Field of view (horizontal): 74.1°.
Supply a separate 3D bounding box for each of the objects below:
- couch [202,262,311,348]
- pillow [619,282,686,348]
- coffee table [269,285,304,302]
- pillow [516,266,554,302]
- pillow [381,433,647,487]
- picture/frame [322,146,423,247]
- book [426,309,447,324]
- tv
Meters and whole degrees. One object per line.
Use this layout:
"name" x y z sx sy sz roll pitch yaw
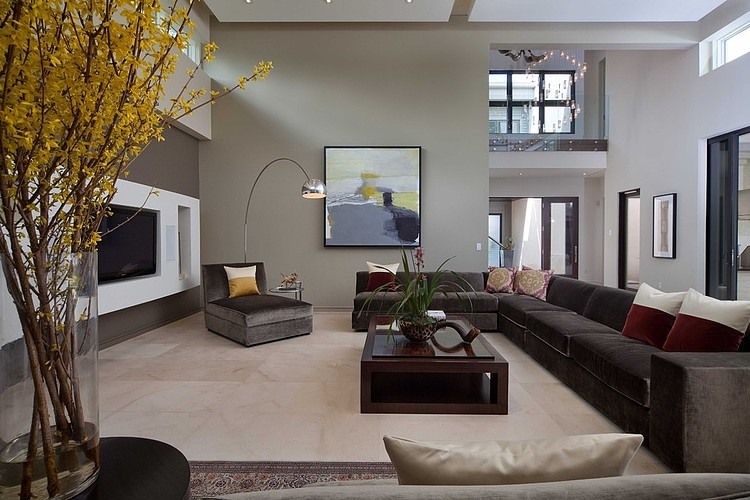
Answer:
"couch" -1.472 0.610 6.100 0.889 0.820 1.181 -3 3 -41
"pillow" 2.336 0.536 4.182 0.257 0.470 0.557 1 0 -6
"coffee table" -1.233 0.575 7.087 0.364 0.344 0.366 0 -2 7
"pillow" 2.051 0.426 6.403 0.127 0.378 0.392 23 -8 -35
"pillow" 0.526 0.870 1.952 0.935 0.237 0.605 1 -32 1
"picture/frame" -0.020 -0.831 7.515 1.559 1.558 0.058 0 -1 -2
"book" 0.637 0.668 5.107 0.199 0.049 0.212 1 2 0
"tv" -2.826 -0.081 5.703 1.050 0.744 0.102 0 -1 25
